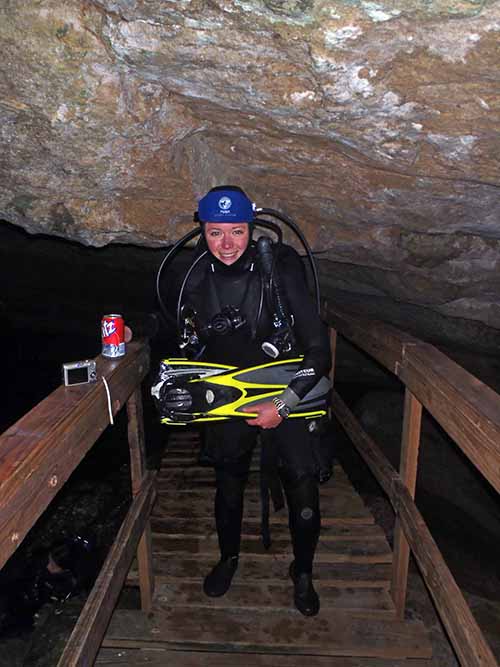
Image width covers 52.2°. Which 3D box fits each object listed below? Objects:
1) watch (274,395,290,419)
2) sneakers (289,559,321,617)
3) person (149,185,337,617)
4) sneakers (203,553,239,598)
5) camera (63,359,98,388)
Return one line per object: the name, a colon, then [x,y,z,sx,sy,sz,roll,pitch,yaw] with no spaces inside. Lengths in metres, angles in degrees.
watch: [0.156,0.365,2.493,0.079,0.110,0.104,-13,17,-10]
sneakers: [0.279,1.341,2.701,0.103,0.108,0.262,-5,38,-7]
person: [0.003,0.318,2.756,0.847,2.168,0.811,0,15,8]
sneakers: [-0.158,1.340,2.832,0.105,0.100,0.286,11,1,14]
camera: [-0.651,0.152,1.954,0.152,0.099,0.084,-6,13,-34]
